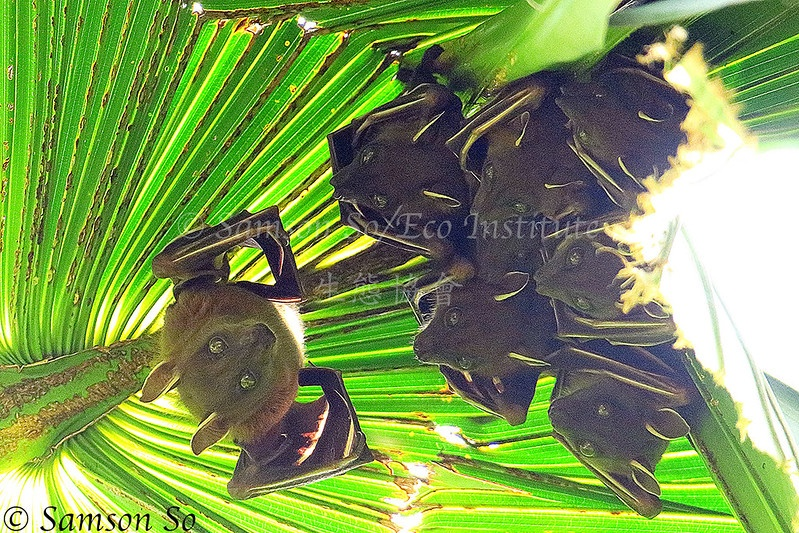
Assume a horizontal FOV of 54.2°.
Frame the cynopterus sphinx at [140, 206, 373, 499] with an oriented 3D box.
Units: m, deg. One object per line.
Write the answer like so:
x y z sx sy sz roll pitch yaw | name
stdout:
-0.396 0.251 2.226 0.619 0.827 0.216 4 -3 -13 | cynopterus sphinx
